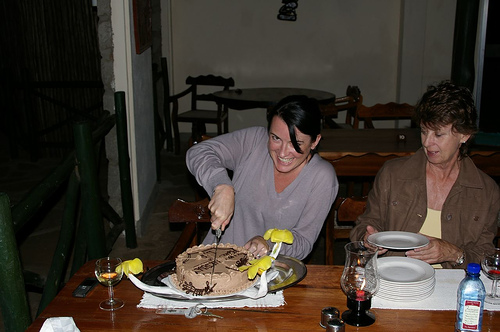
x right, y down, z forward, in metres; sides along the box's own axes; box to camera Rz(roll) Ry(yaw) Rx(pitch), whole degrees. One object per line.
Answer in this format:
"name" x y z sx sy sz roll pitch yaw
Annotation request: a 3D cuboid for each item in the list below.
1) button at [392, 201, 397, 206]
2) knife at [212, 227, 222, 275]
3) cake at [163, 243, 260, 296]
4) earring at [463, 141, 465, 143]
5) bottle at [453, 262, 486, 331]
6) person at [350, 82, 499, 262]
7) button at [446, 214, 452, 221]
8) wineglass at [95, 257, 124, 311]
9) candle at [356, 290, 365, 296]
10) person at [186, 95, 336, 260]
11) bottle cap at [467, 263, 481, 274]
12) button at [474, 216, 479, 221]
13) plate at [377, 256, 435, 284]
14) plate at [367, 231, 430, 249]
"button" 1.137 0.301 3.219 0.036 0.031 0.011 2 10 16
"knife" -0.229 0.577 2.750 0.030 0.292 0.025 3 -32 14
"cake" -0.221 0.666 2.688 0.534 0.156 0.518 -3 14 -27
"earring" 1.617 -0.180 3.089 0.006 0.026 0.007 6 31 14
"bottle" 1.266 0.720 2.334 0.149 0.394 0.280 5 11 32
"person" 1.392 0.025 3.115 0.999 1.297 0.336 2 10 15
"button" 1.524 0.395 3.129 0.038 0.049 0.009 1 10 13
"wineglass" -0.871 0.740 2.542 0.145 0.272 0.147 4 3 33
"candle" 0.637 0.741 2.366 0.031 0.031 0.032 4 2 25
"person" 0.110 0.078 3.163 1.035 1.210 0.655 -5 10 -22
"bottle cap" 1.237 0.567 2.259 0.063 0.069 0.096 4 10 29
"button" 1.724 0.404 3.110 0.027 0.022 0.028 3 18 23
"plate" 0.960 0.677 2.601 0.399 0.049 0.411 -3 8 6
"plate" 0.982 0.444 2.718 0.290 0.101 0.304 -5 13 -38
